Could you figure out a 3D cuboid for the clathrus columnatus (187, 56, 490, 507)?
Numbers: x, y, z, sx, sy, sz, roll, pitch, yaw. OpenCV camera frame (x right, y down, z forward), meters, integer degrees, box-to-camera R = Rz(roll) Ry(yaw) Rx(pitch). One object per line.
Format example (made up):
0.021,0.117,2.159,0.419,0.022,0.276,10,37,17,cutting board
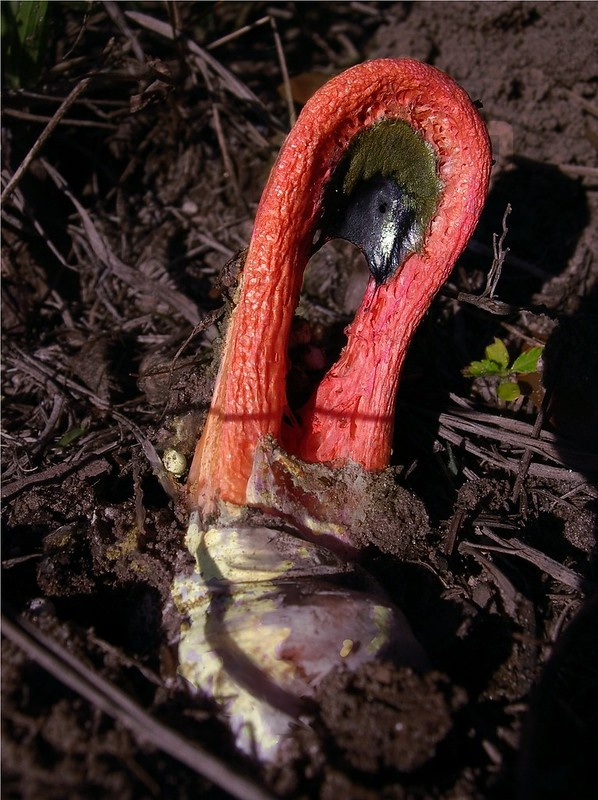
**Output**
-0.008,-0.242,2.194,0.692,1.322,0.370,12,13,-26,clathrus columnatus
